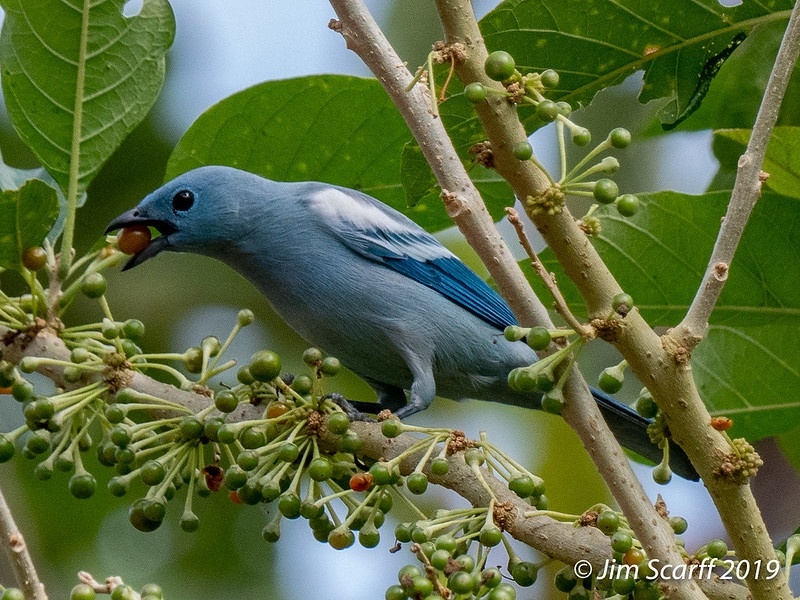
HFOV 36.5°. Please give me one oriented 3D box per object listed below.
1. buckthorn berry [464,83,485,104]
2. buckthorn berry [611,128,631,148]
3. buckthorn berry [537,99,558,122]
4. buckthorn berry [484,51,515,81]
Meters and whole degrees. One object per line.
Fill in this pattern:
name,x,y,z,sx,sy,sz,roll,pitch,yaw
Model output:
buckthorn berry,0.222,-0.610,3.576,0.060,0.046,0.047,0,-90,-22
buckthorn berry,0.668,-0.489,3.684,0.072,0.072,0.074,3,-83,11
buckthorn berry,0.436,-0.561,3.588,0.047,0.063,0.047,-19,-70,-8
buckthorn berry,0.295,-0.691,3.643,0.084,0.098,0.085,4,-39,-7
